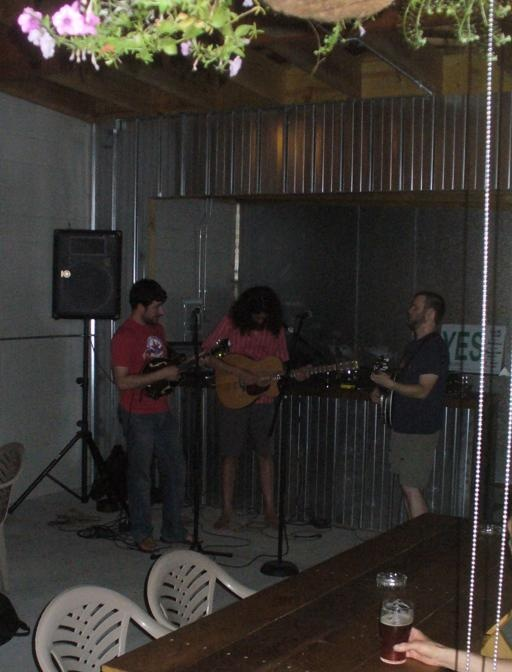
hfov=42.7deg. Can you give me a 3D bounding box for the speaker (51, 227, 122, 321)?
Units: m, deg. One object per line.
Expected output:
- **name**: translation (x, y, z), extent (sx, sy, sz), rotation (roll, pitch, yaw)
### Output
- **speaker**: translation (-1.300, -0.477, 4.896), extent (0.504, 0.666, 0.380), rotation (-2, 12, -29)

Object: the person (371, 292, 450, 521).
- **person**: translation (0.837, 0.367, 3.514), extent (0.395, 1.197, 0.309), rotation (-4, -5, 18)

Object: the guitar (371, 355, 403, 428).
- **guitar**: translation (0.746, 0.338, 3.781), extent (0.122, 0.437, 0.274), rotation (12, -6, -8)

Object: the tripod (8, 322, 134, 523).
- **tripod**: translation (-1.230, 0.561, 4.690), extent (0.918, 1.520, 0.864), rotation (4, -7, -19)

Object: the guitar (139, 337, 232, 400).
- **guitar**: translation (-0.439, 0.133, 3.871), extent (0.559, 0.223, 0.088), rotation (-29, 23, -30)
